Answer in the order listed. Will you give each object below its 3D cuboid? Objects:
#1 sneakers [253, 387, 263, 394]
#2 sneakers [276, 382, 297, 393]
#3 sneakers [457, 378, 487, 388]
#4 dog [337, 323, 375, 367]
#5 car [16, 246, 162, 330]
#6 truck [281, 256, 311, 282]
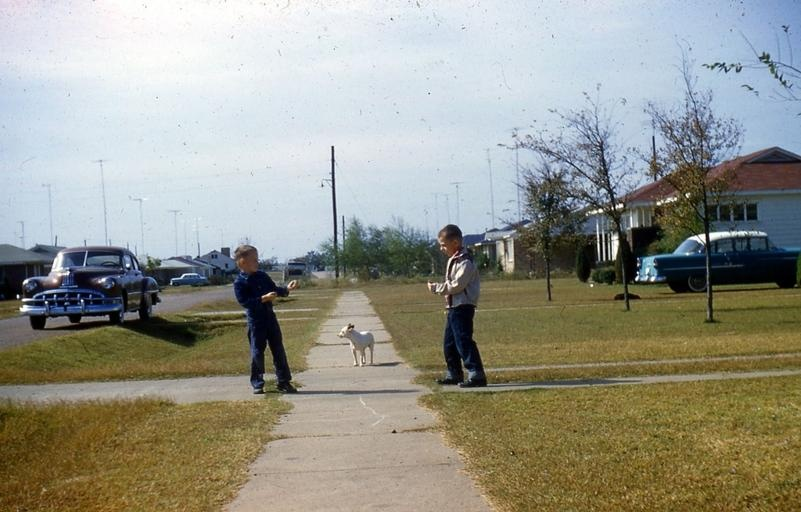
[{"bbox_3d":[-2.513,2.346,16.123,0.194,0.086,0.235,-5,7,-13],"label":"sneakers"},{"bbox_3d":[-2.031,2.312,16.190,0.341,0.164,0.153,3,4,-4],"label":"sneakers"},{"bbox_3d":[1.247,2.160,15.862,0.479,0.237,0.184,5,-3,0],"label":"sneakers"},{"bbox_3d":[-0.879,1.825,18.748,0.374,0.820,1.089,-5,-6,37],"label":"dog"},{"bbox_3d":[-9.079,1.001,26.381,2.366,1.717,4.093,-1,-5,3],"label":"car"},{"bbox_3d":[-10.944,1.409,95.311,2.510,2.936,4.831,0,-7,-6],"label":"truck"}]
